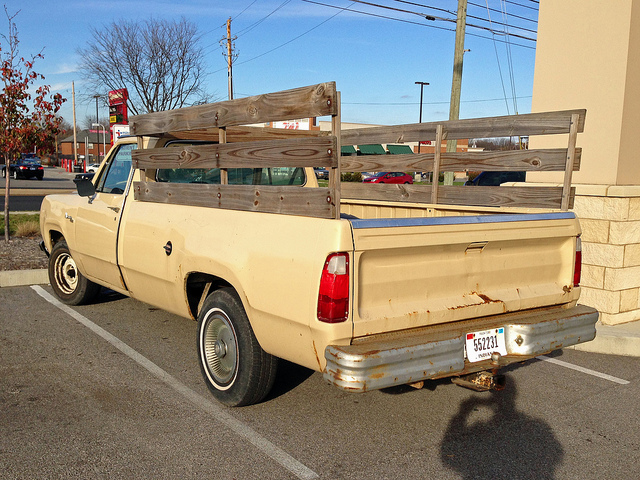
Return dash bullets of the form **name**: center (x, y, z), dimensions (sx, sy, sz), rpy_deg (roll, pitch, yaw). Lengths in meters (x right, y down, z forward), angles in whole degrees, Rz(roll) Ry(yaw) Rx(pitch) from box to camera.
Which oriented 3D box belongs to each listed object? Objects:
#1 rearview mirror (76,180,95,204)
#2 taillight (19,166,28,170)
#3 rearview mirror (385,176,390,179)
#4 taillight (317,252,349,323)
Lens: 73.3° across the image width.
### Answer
- **rearview mirror**: center (-2.915, -0.651, 5.344), dimensions (0.186, 0.199, 0.203), rpy_deg (-3, 10, -29)
- **taillight**: center (-28.379, -6.932, 41.000), dimensions (0.308, 0.203, 0.585), rpy_deg (1, 6, 6)
- **rearview mirror**: center (5.448, -5.130, 34.930), dimensions (0.409, 0.110, 0.374), rpy_deg (-1, 2, -35)
- **taillight**: center (0.091, 0.312, 2.837), dimensions (0.198, 0.458, 0.066), rpy_deg (1, 9, 0)
